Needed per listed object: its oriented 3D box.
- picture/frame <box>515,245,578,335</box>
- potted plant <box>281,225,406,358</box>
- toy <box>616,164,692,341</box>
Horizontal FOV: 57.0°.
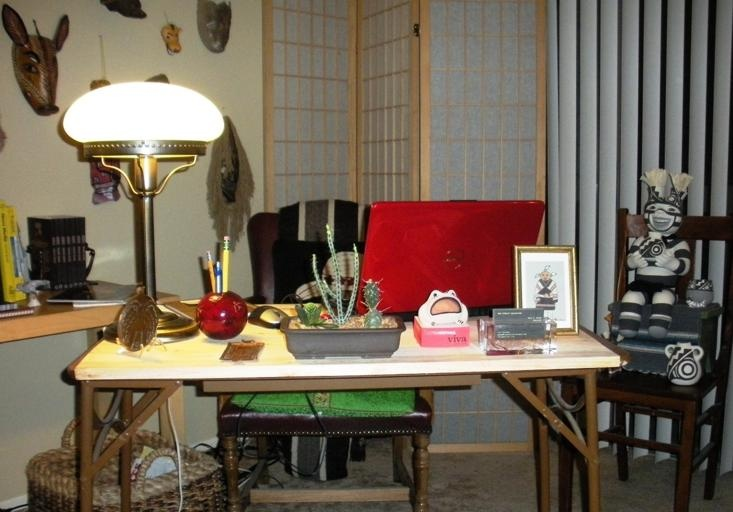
[{"bbox_3d":[0.743,0.128,2.801,0.253,0.038,0.369,0,48,12],"label":"picture/frame"},{"bbox_3d":[-0.099,0.151,2.657,0.471,0.491,0.257,-1,13,-4],"label":"potted plant"},{"bbox_3d":[1.486,-0.011,3.491,0.337,0.860,0.258,0,6,23],"label":"toy"}]
